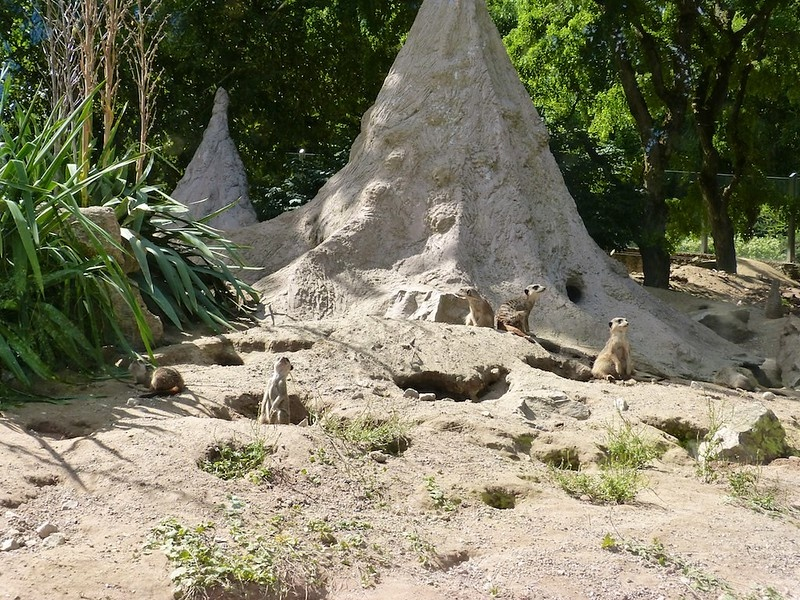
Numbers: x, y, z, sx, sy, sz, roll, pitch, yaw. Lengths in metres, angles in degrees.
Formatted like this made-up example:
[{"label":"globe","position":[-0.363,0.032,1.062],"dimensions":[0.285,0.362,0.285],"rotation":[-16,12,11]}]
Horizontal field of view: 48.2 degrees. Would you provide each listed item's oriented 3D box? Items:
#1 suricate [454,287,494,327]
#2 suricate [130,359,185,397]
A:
[{"label":"suricate","position":[0.791,0.080,8.878],"dimensions":[0.297,0.386,0.287],"rotation":[3,8,7]},{"label":"suricate","position":[-1.904,0.603,6.925],"dimensions":[0.234,0.290,0.555],"rotation":[-6,20,-33]}]
